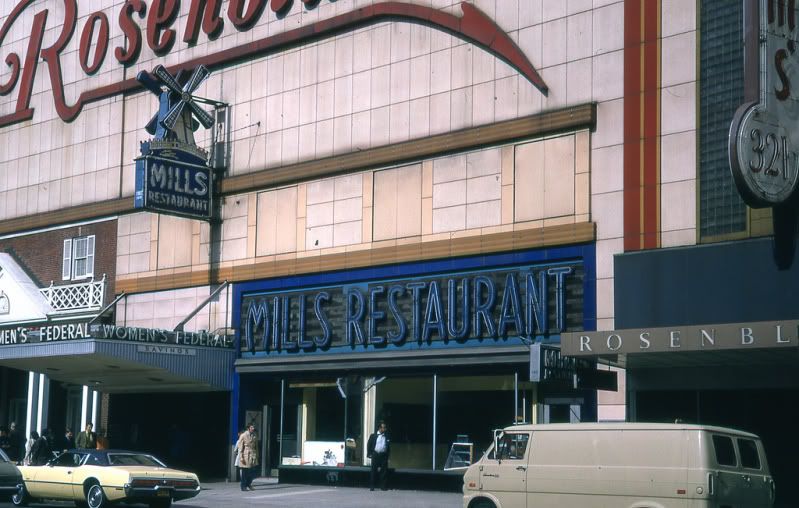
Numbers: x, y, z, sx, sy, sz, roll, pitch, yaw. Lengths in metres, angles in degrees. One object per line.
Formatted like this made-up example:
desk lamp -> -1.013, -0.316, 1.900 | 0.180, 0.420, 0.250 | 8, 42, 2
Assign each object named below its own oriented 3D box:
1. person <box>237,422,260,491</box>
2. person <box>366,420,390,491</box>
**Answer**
person -> -6.673, 8.751, 58.499 | 0.872, 2.811, 1.382 | 1, -15, -6
person -> -0.896, 8.725, 58.145 | 0.879, 2.736, 1.328 | 0, -15, -2
